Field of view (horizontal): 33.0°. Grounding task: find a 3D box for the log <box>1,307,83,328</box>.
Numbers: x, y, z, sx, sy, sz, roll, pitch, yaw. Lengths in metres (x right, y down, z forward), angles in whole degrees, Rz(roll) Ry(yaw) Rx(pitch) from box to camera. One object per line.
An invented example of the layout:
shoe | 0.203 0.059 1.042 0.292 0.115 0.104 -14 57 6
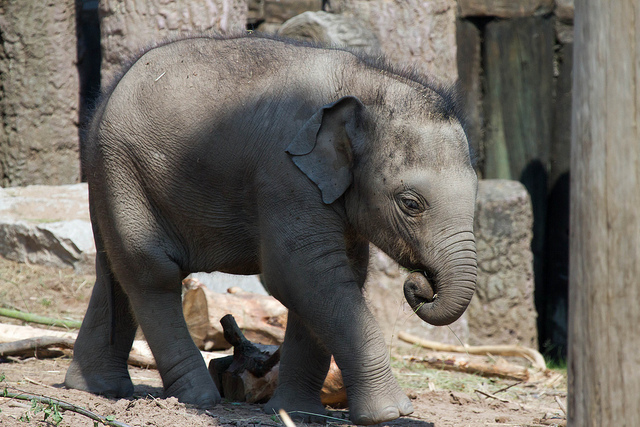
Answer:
log | -1.857 0.697 7.167 0.496 0.047 0.051 11 2 -12

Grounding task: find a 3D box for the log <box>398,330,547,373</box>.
log | 1.185 0.992 7.872 1.227 0.191 0.348 6 -9 -11

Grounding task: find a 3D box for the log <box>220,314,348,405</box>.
log | -0.381 0.928 6.568 0.287 0.514 0.833 -12 -15 12

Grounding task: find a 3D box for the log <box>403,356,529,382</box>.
log | 0.944 1.043 7.180 0.628 0.084 0.102 7 -12 12
